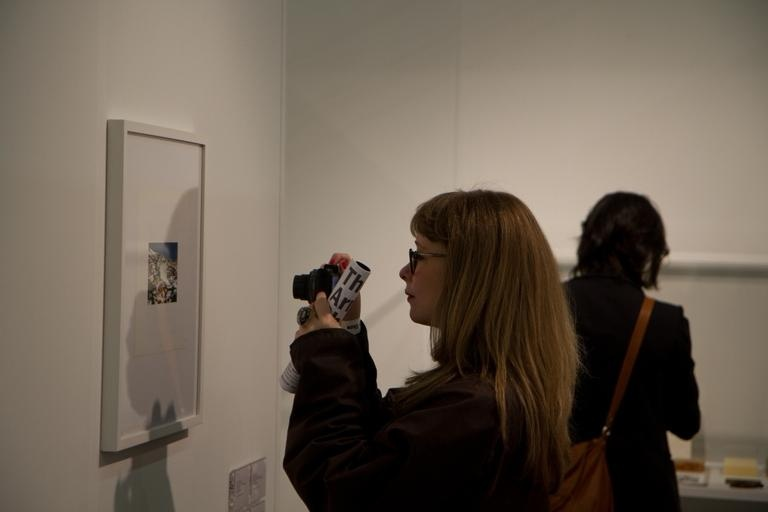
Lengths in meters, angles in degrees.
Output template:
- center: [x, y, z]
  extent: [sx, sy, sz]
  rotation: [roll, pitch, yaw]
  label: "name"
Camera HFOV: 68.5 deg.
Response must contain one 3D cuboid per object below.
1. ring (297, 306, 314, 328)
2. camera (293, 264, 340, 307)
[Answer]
- center: [-0.196, 0.152, 1.426]
  extent: [0.035, 0.051, 0.018]
  rotation: [9, -6, 31]
  label: "ring"
- center: [-0.177, 0.083, 1.553]
  extent: [0.112, 0.072, 0.109]
  rotation: [3, 48, 4]
  label: "camera"
